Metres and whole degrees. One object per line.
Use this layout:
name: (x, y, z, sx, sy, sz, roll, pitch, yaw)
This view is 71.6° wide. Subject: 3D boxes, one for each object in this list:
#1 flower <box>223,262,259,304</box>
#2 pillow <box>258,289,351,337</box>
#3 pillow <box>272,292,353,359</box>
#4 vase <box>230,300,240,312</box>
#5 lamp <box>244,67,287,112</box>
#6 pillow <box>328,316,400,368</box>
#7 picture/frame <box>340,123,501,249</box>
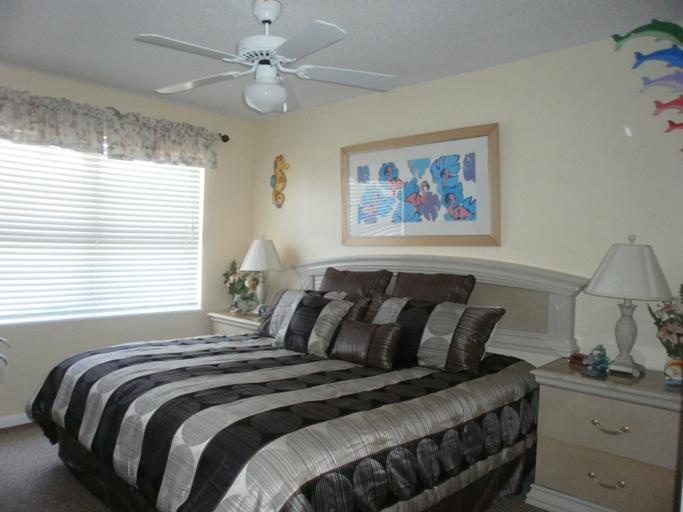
flower: (-1.088, 0.275, 5.241, 0.432, 0.451, 0.450, 1, -24, -14)
pillow: (-0.271, 0.517, 3.706, 0.177, 0.394, 0.619, 40, -25, -19)
pillow: (-0.122, 0.556, 3.577, 0.190, 0.416, 0.687, 40, -24, -32)
vase: (-1.111, 0.522, 5.030, 0.098, 0.112, 0.112, 3, -8, 10)
lamp: (-0.386, -0.857, 2.584, 0.228, 0.264, 0.213, 1, -25, -7)
pillow: (0.149, 0.557, 3.143, 0.450, 0.276, 0.150, -3, -31, 42)
picture/frame: (0.718, -0.597, 4.022, 1.212, 0.739, 0.045, -1, 1, 37)
